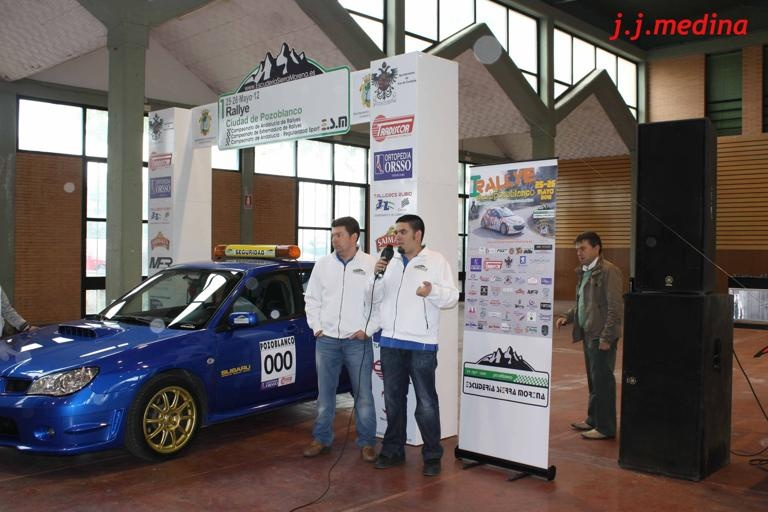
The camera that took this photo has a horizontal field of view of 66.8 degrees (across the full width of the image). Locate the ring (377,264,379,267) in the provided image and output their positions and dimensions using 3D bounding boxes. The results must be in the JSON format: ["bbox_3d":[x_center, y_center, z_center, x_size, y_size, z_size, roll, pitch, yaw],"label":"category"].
[{"bbox_3d":[-0.068,0.084,5.954,0.018,0.035,0.020,13,-4,19],"label":"ring"}]

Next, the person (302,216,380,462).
[{"bbox_3d":[-0.480,0.883,6.544,0.841,2.640,0.595,0,4,1],"label":"person"}]

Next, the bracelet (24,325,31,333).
[{"bbox_3d":[-4.481,0.905,7.306,0.072,0.060,0.037,24,24,30],"label":"bracelet"}]

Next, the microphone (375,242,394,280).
[{"bbox_3d":[0.002,0.023,5.998,0.131,0.455,0.154,17,8,3],"label":"microphone"}]

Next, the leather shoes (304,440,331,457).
[{"bbox_3d":[-0.766,2.154,6.574,0.120,0.140,0.335,-5,-12,39],"label":"leather shoes"}]

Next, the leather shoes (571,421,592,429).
[{"bbox_3d":[2.507,2.144,7.424,0.218,0.096,0.088,2,-6,5],"label":"leather shoes"}]

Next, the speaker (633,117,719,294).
[{"bbox_3d":[3.210,-0.512,6.353,0.596,1.781,0.781,-8,9,-43],"label":"speaker"}]

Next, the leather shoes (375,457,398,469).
[{"bbox_3d":[0.027,2.189,6.207,0.238,0.096,0.088,10,-11,-34],"label":"leather shoes"}]

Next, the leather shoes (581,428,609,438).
[{"bbox_3d":[2.563,2.153,7.103,0.309,0.115,0.116,1,-7,7],"label":"leather shoes"}]

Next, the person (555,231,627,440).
[{"bbox_3d":[2.596,0.946,7.135,0.525,2.487,0.840,-1,4,-20],"label":"person"}]
